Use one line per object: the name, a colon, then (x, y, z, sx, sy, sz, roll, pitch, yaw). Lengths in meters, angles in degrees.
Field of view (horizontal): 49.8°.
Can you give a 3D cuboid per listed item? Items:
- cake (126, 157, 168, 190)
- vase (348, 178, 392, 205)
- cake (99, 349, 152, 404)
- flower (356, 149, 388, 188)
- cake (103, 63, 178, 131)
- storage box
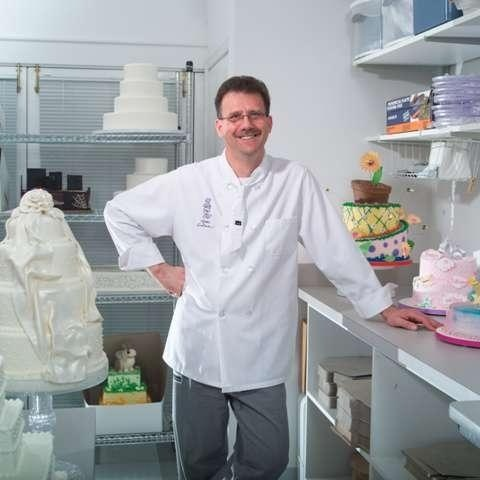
cake: (-0.491, -0.328, 2.735, 0.197, 0.130, 0.195, 2, 5, 17)
vase: (0.560, -0.203, 2.171, 0.132, 0.086, 0.119, 1, 6, 3)
cake: (-0.578, 0.708, 2.811, 0.301, 0.322, 0.267, 1, -4, -7)
flower: (0.576, -0.324, 2.262, 0.115, 0.187, 0.056, -10, -8, 19)
cake: (-0.484, -0.653, 2.588, 0.369, 0.303, 0.356, -1, 6, -4)
storage box: (-0.563, 0.719, 2.738, 0.390, 0.508, 0.206, -3, 0, -11)
